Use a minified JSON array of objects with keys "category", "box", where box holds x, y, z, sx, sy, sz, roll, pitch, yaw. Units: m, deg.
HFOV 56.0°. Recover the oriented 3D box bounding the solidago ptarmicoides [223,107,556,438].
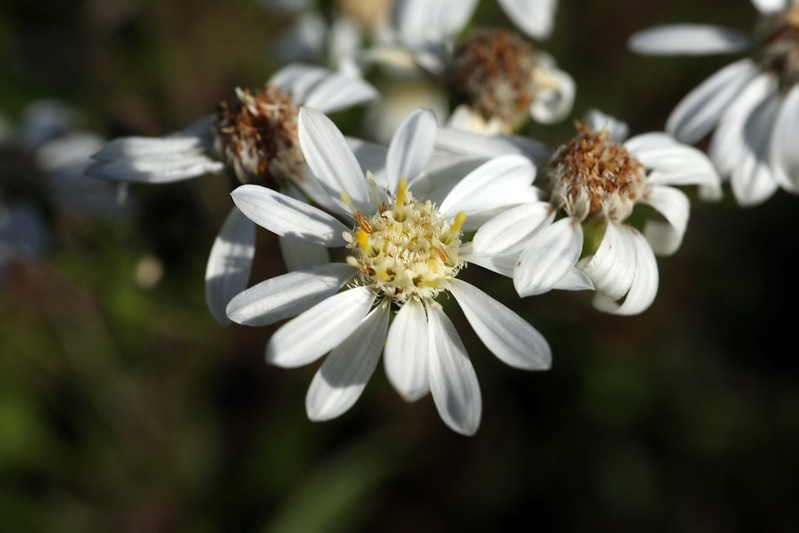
[{"category":"solidago ptarmicoides","box":[-0.030,-0.002,2.204,0.952,0.549,0.745,7,47,1]}]
